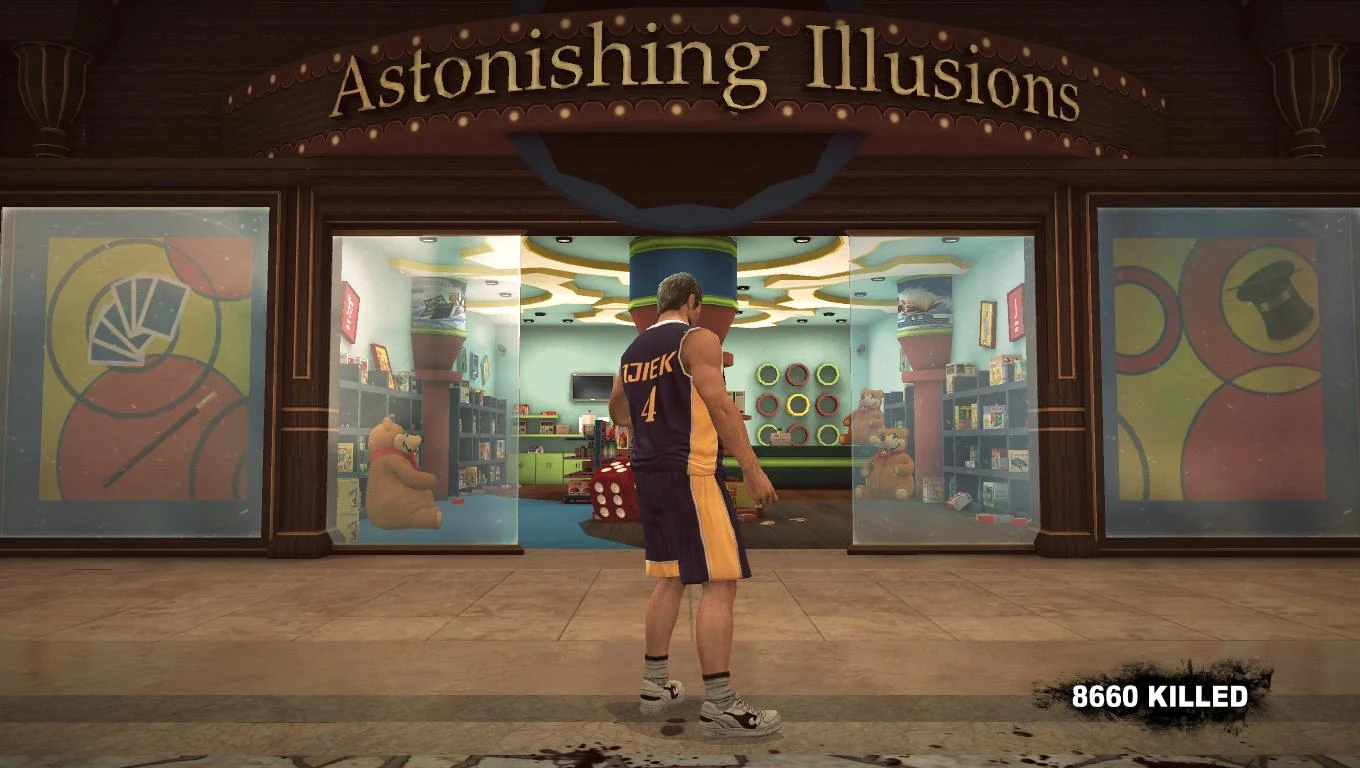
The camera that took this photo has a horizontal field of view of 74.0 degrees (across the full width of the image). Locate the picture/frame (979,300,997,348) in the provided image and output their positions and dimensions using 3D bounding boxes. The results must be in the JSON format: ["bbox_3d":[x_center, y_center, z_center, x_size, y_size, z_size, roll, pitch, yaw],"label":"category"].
[{"bbox_3d":[4.247,-0.814,12.385,0.264,0.701,0.184,9,15,36],"label":"picture/frame"}]

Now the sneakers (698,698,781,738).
[{"bbox_3d":[0.448,2.568,6.921,0.712,0.262,0.227,0,-6,-3],"label":"sneakers"}]

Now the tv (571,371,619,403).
[{"bbox_3d":[-1.842,0.074,19.183,0.911,0.498,0.109,0,-8,5],"label":"tv"}]
